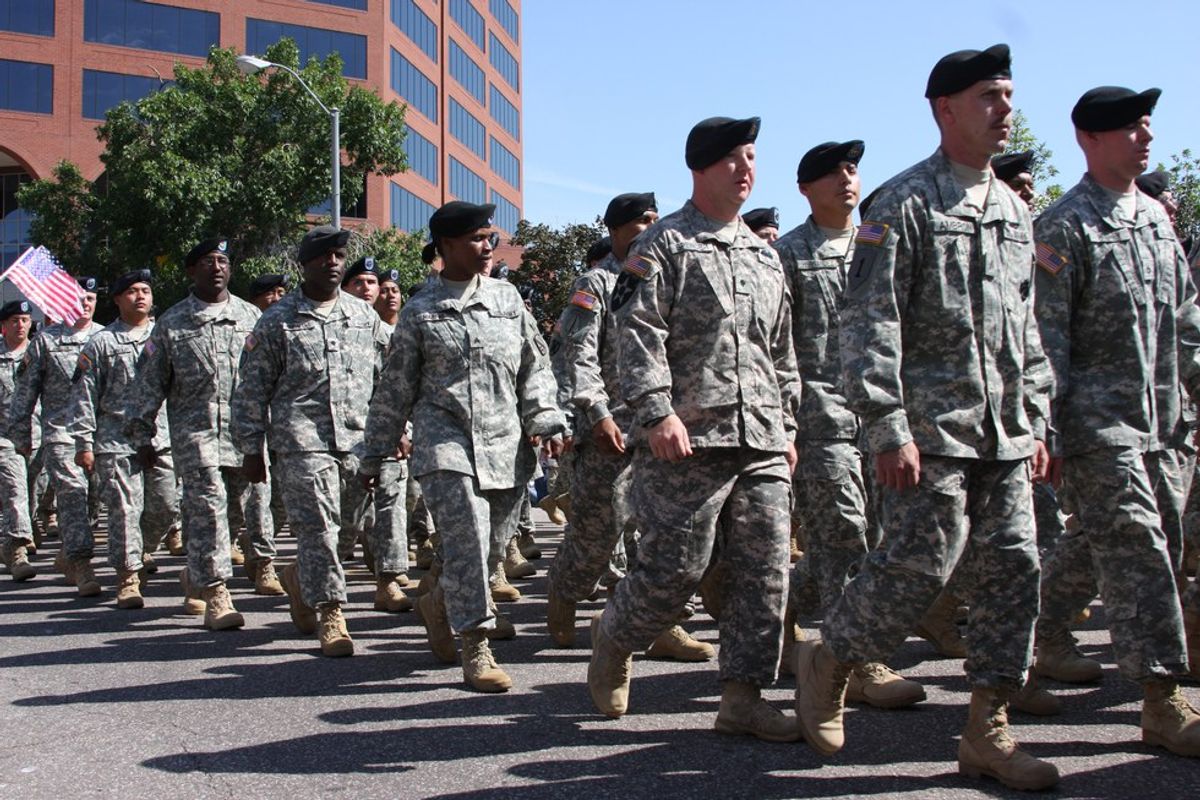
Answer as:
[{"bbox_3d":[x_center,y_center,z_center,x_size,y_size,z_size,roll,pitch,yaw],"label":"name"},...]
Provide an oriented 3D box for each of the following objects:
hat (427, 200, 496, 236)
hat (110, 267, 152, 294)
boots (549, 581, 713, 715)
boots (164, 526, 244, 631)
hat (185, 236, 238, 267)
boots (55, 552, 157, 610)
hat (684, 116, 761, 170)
[{"bbox_3d":[-0.925,-1.206,8.020,0.341,0.114,0.272,-23,10,-6],"label":"hat"},{"bbox_3d":[-4.546,-1.127,11.628,0.349,0.110,0.308,-16,-4,42],"label":"hat"},{"bbox_3d":[-0.073,1.593,7.715,0.511,0.546,1.503,-1,-1,-36],"label":"boots"},{"bbox_3d":[-3.272,1.653,10.137,0.394,0.652,1.137,1,-1,-41],"label":"boots"},{"bbox_3d":[-3.355,-1.242,10.193,0.336,0.108,0.288,-10,0,39],"label":"hat"},{"bbox_3d":[-4.618,1.684,11.288,1.495,0.531,0.484,-3,-7,41],"label":"boots"},{"bbox_3d":[0.697,-1.453,6.793,0.381,0.284,0.250,1,-5,-4],"label":"hat"}]
